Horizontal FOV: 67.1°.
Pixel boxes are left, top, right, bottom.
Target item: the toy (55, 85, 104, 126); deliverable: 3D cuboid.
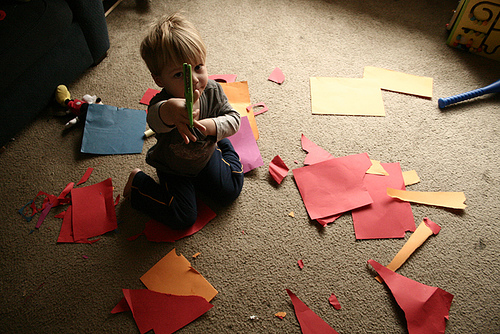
[{"bbox_3d":[-0.884,-0.359,1.999,0.102,0.261,0.211,-46,16,3],"label":"toy"}]
